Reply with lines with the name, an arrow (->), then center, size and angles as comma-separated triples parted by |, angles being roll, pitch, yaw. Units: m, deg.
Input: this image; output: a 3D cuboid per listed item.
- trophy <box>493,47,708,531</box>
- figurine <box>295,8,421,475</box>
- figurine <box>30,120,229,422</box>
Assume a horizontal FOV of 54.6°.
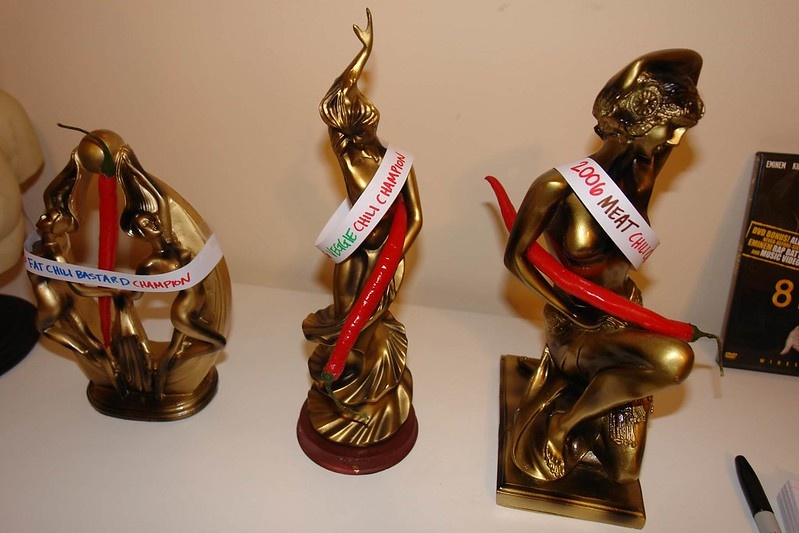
trophy -> 0.552, 0.059, 2.192 | 0.569, 1.253, 0.490 | 8, 27, 7
figurine -> -0.109, -0.049, 2.256 | 0.380, 1.239, 0.479 | 0, 27, -9
figurine -> -0.816, 0.032, 2.355 | 0.590, 0.864, 0.265 | 4, 27, -2
